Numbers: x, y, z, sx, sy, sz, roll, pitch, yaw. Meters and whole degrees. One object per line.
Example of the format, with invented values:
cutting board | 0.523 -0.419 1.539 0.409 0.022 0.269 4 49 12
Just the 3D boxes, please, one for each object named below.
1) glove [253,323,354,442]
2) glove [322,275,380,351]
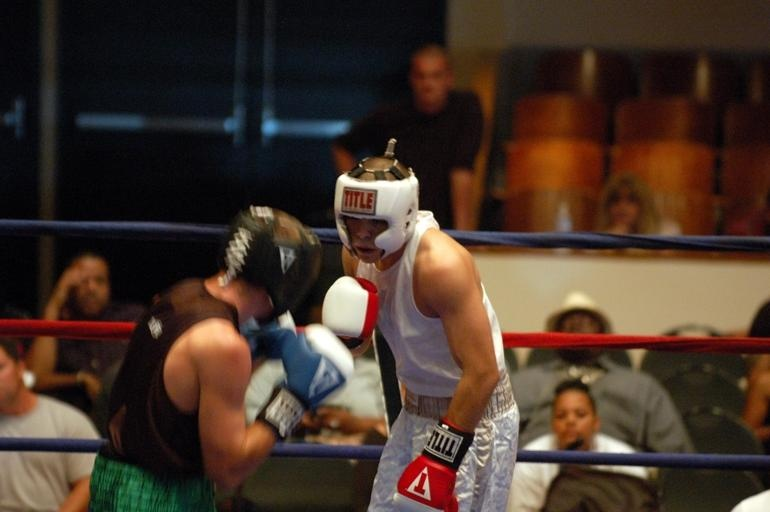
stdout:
glove | -0.386 0.519 3.755 0.485 0.371 0.211 -40 -12 -11
glove | -0.141 0.210 3.741 0.278 0.284 0.202 3 -10 -6
